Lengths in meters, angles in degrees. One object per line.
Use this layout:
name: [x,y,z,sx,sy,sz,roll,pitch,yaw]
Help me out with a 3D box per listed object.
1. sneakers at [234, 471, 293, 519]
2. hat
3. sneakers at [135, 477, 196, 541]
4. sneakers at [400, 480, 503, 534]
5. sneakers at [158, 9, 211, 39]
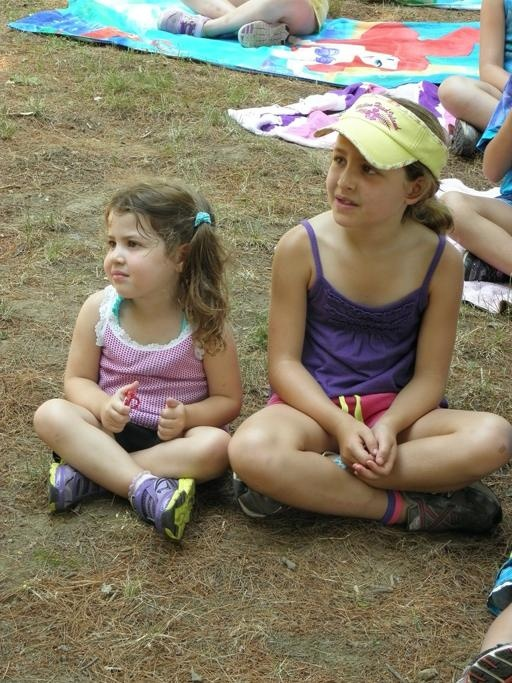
sneakers: [0.000,0.418,1.847,0.129,0.130,0.143,16,-20,-42]
hat: [0.341,-0.543,1.808,0.286,0.206,0.353,15,32,27]
sneakers: [-0.245,0.427,1.750,0.109,0.098,0.195,-6,15,-20]
sneakers: [0.537,0.462,1.869,0.254,0.088,0.123,-3,40,-1]
sneakers: [-0.626,-2.817,5.933,0.430,0.138,0.226,9,32,13]
